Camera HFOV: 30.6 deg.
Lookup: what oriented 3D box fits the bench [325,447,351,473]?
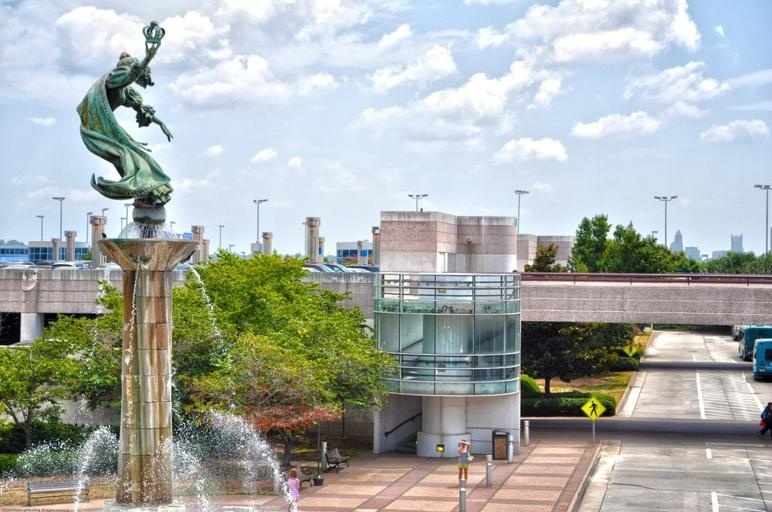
[{"bbox_3d":[-2.636,11.415,75.740,0.983,1.166,2.495,-1,-1,12],"label":"bench"}]

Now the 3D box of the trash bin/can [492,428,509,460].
[{"bbox_3d":[6.310,10.422,76.728,0.926,1.469,0.816,-1,-3,3],"label":"trash bin/can"}]
